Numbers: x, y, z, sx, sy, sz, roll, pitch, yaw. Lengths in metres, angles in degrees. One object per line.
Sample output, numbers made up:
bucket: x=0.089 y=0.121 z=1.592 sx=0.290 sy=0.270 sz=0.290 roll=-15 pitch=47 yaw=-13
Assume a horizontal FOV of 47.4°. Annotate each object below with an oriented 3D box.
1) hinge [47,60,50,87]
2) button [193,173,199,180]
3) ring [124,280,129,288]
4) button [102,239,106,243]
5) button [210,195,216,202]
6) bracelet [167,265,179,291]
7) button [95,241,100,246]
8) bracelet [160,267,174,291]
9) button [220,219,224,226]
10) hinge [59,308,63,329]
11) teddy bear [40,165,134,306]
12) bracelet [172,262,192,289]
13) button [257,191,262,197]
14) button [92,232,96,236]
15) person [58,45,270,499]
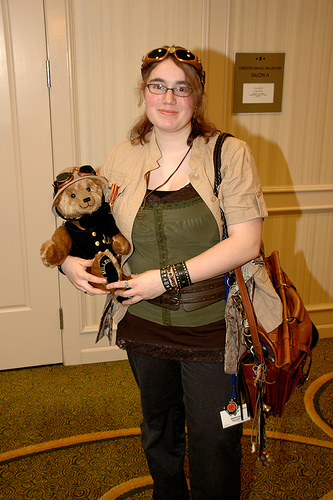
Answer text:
hinge: x=-0.718 y=-1.072 z=2.299 sx=0.017 sy=0.151 sz=0.014 roll=3 pitch=9 yaw=27
button: x=0.074 y=-0.185 z=0.960 sx=0.013 sy=0.016 sz=0.004 roll=-2 pitch=-3 yaw=12
ring: x=-0.103 y=0.087 z=0.966 sx=0.009 sy=0.013 sz=0.014 roll=-8 pitch=-3 yaw=3
button: x=-0.191 y=-0.027 z=1.155 sx=0.011 sy=0.010 sz=0.004 roll=2 pitch=-8 yaw=-19
button: x=0.116 y=-0.128 z=0.947 sx=0.012 sy=0.015 sz=0.005 roll=-2 pitch=-4 yaw=-1
bracelet: x=0.008 y=0.073 z=0.904 sx=0.018 sy=0.036 sz=0.049 roll=-25 pitch=16 yaw=4
button: x=-0.213 y=-0.020 z=1.150 sx=0.010 sy=0.010 sz=0.003 roll=-8 pitch=10 yaw=7
bracelet: x=-0.003 y=0.071 z=0.912 sx=0.020 sy=0.037 sz=0.048 roll=-32 pitch=31 yaw=8
button: x=0.143 y=-0.070 z=0.984 sx=0.003 sy=0.015 sz=0.016 roll=6 pitch=11 yaw=37
hinge: x=-0.737 y=0.479 z=2.643 sx=0.014 sy=0.157 sz=0.037 roll=-7 pitch=10 yaw=-35
teddy bear: x=-0.229 y=-0.053 z=1.195 sx=0.335 sy=0.417 sz=0.252 roll=-12 pitch=19 yaw=-12
bracelet: x=0.036 y=0.061 z=0.896 sx=0.022 sy=0.054 sz=0.042 roll=-18 pitch=22 yaw=-3
button: x=0.225 y=-0.138 z=0.932 sx=0.015 sy=0.005 sz=0.012 roll=-23 pitch=49 yaw=-24
button: x=-0.220 y=-0.050 z=1.148 sx=0.012 sy=0.012 sz=0.006 roll=-5 pitch=2 yaw=10
person: x=-0.020 y=0.195 z=1.087 sx=0.340 sy=1.439 sz=0.521 roll=-7 pitch=11 yaw=-37
